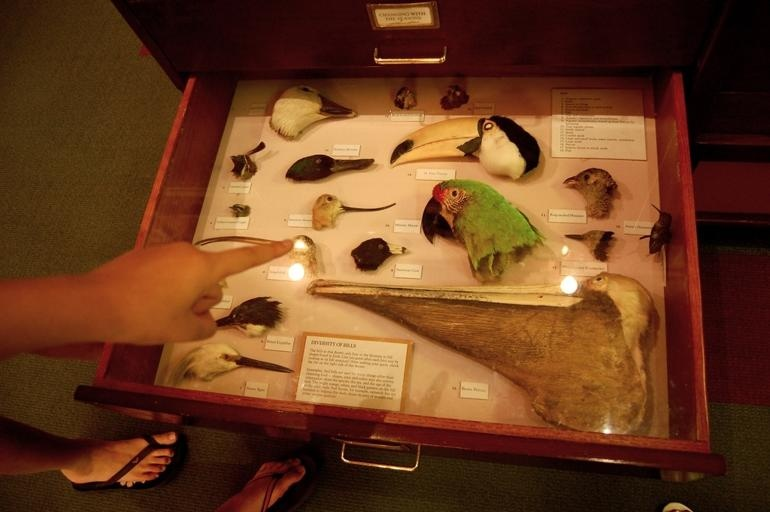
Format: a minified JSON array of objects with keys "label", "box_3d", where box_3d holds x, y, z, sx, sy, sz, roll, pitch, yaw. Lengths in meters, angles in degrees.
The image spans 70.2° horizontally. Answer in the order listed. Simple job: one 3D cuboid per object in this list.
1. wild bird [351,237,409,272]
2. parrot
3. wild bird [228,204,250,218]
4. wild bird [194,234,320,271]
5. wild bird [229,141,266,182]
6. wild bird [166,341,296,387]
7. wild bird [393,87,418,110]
[{"label":"wild bird","box_3d":[-0.020,-0.006,1.778,0.164,0.033,0.092,0,74,6]},{"label":"parrot","box_3d":[0.320,-0.107,1.810,0.392,0.259,0.282,6,102,-2]},{"label":"wild bird","box_3d":[-0.499,-0.160,1.884,0.058,0.022,0.046,-3,74,25]},{"label":"wild bird","box_3d":[-0.424,-0.031,1.875,0.449,0.115,0.153,8,95,2]},{"label":"wild bird","box_3d":[-0.492,-0.329,1.938,0.135,0.077,0.089,-31,71,-10]},{"label":"wild bird","box_3d":[-0.458,0.338,1.828,0.524,0.134,0.167,3,83,6]},{"label":"wild bird","box_3d":[0.071,-0.551,1.913,0.075,0.026,0.078,4,82,7]}]
